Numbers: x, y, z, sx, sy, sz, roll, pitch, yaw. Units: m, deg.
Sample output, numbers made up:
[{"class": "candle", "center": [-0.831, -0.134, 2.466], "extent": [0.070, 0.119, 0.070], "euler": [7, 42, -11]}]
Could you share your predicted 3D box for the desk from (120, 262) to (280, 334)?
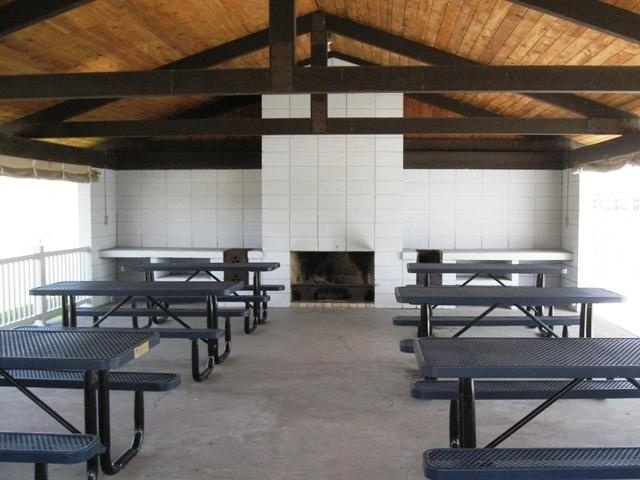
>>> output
[{"class": "desk", "center": [-1.823, 0.877, 9.284], "extent": [2.572, 0.686, 1.844], "euler": [-2, 1, -1]}]

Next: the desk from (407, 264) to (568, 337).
[{"class": "desk", "center": [2.167, 0.651, 7.916], "extent": [2.087, 0.472, 0.521], "euler": [0, -6, 11]}]
